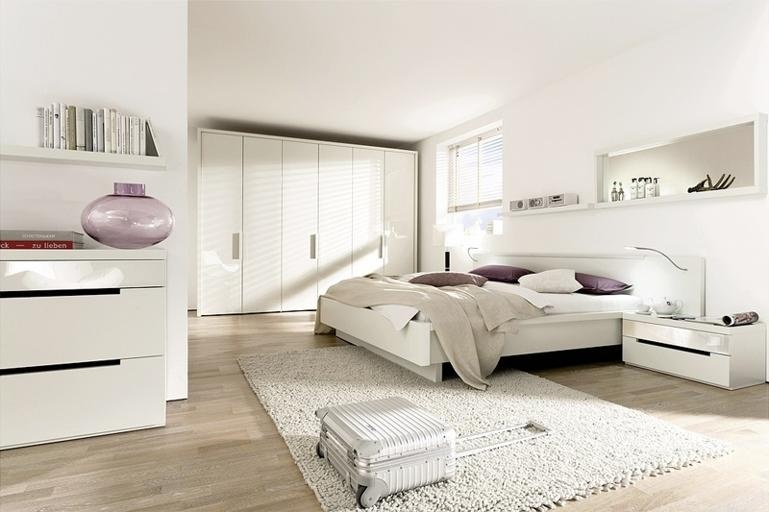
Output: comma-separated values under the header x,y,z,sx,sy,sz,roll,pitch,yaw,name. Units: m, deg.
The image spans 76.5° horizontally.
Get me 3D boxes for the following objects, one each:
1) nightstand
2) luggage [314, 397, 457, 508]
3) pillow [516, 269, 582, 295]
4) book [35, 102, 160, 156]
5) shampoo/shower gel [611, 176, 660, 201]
x,y,z,sx,sy,sz,roll,pitch,yaw,name
2.473,0.755,3.988,0.624,0.488,0.935,1,1,-19,nightstand
-0.005,1.048,2.693,0.557,0.341,0.580,-6,13,-30,luggage
1.628,0.255,4.807,0.381,0.105,0.360,-3,2,-28,pillow
-1.868,-0.813,3.168,0.653,0.321,0.294,6,2,-39,book
2.456,-0.655,4.708,0.097,0.150,0.313,0,1,-26,shampoo/shower gel
